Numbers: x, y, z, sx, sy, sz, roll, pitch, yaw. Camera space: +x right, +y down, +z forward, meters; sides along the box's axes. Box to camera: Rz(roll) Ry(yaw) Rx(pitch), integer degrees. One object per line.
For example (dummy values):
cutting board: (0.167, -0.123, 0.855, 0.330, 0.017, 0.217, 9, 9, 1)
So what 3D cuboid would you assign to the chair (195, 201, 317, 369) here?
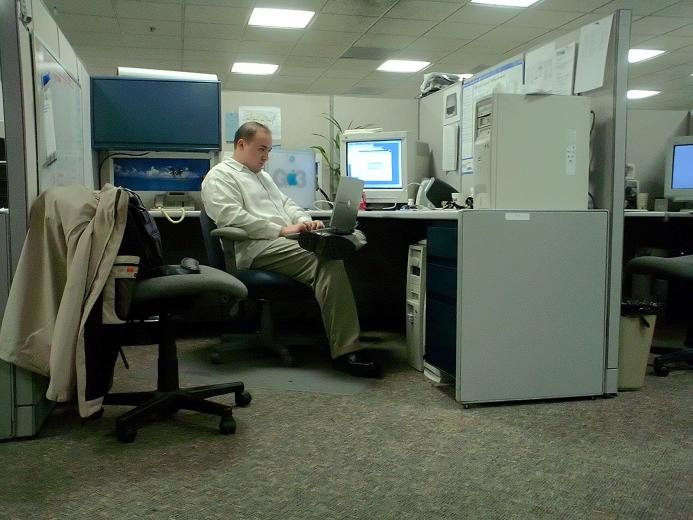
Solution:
chair: (-0.480, 0.092, 3.118, 0.699, 0.859, 0.688, -7, -3, 36)

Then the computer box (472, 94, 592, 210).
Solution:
computer box: (0.848, -0.461, 2.496, 0.629, 0.605, 0.380, 1, 4, -2)

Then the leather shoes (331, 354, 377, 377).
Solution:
leather shoes: (0.056, 0.523, 2.833, 0.270, 0.102, 0.088, 1, 1, 29)

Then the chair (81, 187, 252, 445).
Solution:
chair: (-0.728, 0.196, 2.324, 0.601, 0.902, 0.661, -2, -1, -35)

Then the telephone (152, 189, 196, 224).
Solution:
telephone: (-1.066, -0.331, 3.446, 0.271, 0.125, 0.366, -2, 11, -16)

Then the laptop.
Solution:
laptop: (-0.100, -0.246, 2.770, 0.414, 0.250, 0.433, -5, 0, 40)

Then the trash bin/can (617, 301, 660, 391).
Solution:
trash bin/can: (1.377, 0.405, 2.681, 0.147, 0.420, 0.242, 6, 12, 28)

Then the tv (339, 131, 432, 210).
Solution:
tv: (0.042, -0.584, 3.837, 0.701, 0.476, 0.671, 3, 7, 36)
